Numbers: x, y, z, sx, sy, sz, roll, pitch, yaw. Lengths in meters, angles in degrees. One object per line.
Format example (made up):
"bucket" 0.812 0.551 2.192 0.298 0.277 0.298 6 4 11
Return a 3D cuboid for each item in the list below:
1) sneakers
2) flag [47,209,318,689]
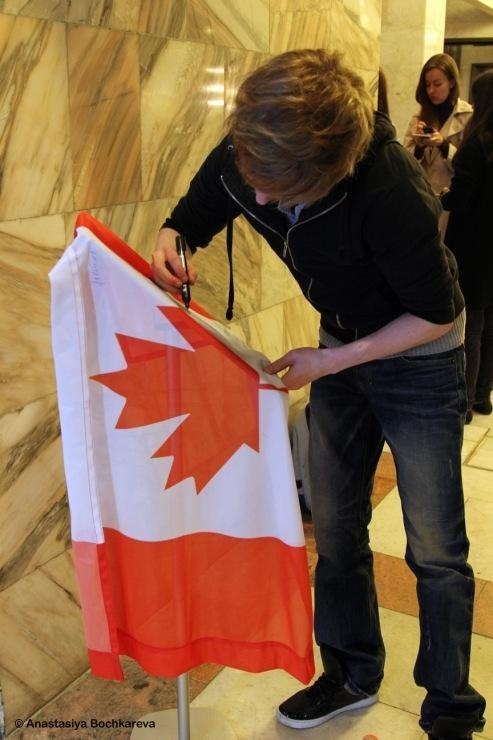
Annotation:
"sneakers" 0.190 0.830 1.834 0.289 0.105 0.092 -2 31 -20
"flag" -0.098 0.159 1.251 0.430 0.842 0.181 -2 15 -9
